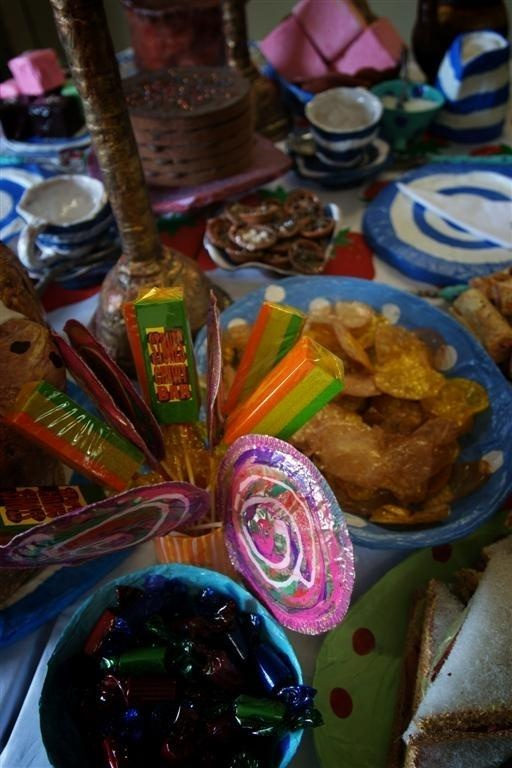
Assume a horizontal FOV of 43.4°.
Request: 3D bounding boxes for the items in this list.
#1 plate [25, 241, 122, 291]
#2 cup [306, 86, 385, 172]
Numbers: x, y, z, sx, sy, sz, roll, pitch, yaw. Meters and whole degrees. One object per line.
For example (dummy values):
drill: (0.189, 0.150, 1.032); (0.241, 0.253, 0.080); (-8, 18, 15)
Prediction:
plate: (-0.220, -0.146, 0.775); (0.082, 0.079, 0.050); (-30, 79, -15)
cup: (0.131, -0.357, 0.909); (0.119, 0.077, 0.110); (-2, 61, 4)
